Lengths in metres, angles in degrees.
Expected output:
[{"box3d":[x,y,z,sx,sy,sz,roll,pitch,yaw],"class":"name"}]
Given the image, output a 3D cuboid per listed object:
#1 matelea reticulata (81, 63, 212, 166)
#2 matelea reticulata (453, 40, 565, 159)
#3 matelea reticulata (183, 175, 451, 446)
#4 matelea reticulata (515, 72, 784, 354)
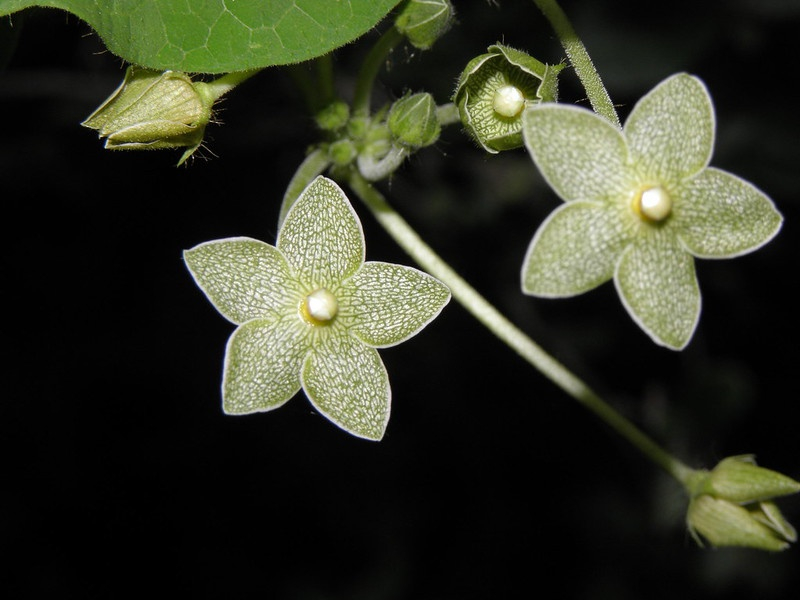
[{"box3d":[-0.394,-0.267,1.332,0.160,0.182,0.117,20,38,2],"class":"matelea reticulata"},{"box3d":[0.176,-0.348,1.427,0.167,0.159,0.094,-10,81,-4],"class":"matelea reticulata"},{"box3d":[-0.158,0.012,1.332,0.400,0.325,0.238,28,39,10],"class":"matelea reticulata"},{"box3d":[0.363,-0.154,1.288,0.416,0.335,0.221,16,38,-5],"class":"matelea reticulata"}]
